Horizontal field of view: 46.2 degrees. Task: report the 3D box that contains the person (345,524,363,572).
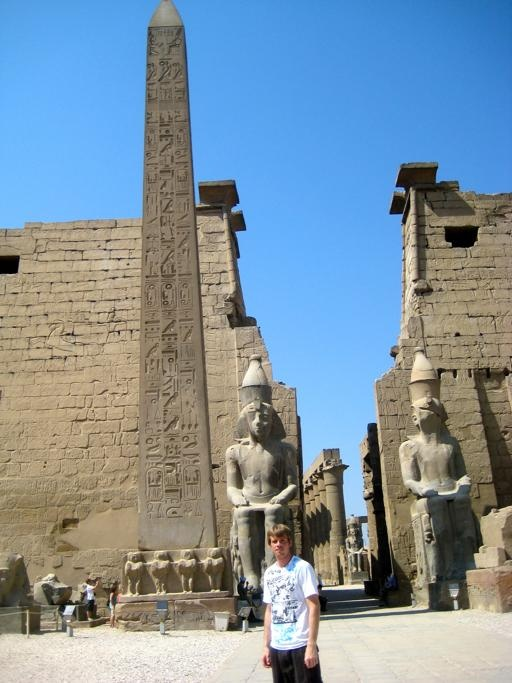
[{"bbox_3d":[3.226,6.709,19.699,0.578,1.642,1.390,-8,-20,7],"label":"person"}]
